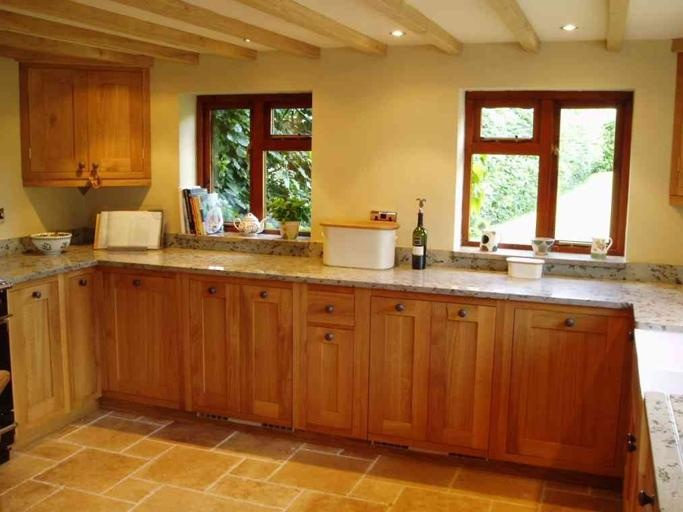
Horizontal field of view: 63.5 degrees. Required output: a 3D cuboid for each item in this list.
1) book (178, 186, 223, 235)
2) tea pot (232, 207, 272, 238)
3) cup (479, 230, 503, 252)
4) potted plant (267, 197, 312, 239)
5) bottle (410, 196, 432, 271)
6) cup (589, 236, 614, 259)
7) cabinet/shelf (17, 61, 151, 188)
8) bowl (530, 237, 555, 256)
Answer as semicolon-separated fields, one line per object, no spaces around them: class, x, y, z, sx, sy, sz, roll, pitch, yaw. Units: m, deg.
book;-1.129;-0.365;4.403;0.259;0.374;0.413;0;5;28
tea pot;-0.753;-0.263;4.412;0.328;0.177;0.201;5;13;17
cup;1.035;-0.107;3.928;0.158;0.146;0.135;-2;4;-34
potted plant;-0.383;-0.281;4.278;0.340;0.269;0.317;1;0;3
bottle;0.547;-0.163;3.816;0.113;0.466;0.251;3;13;9
cup;1.716;-0.060;3.650;0.120;0.131;0.103;4;13;12
cabinet/shelf;-1.801;-0.983;4.225;1.100;0.881;0.504;4;9;11
bowl;1.360;-0.069;3.754;0.138;0.100;0.136;1;7;0
